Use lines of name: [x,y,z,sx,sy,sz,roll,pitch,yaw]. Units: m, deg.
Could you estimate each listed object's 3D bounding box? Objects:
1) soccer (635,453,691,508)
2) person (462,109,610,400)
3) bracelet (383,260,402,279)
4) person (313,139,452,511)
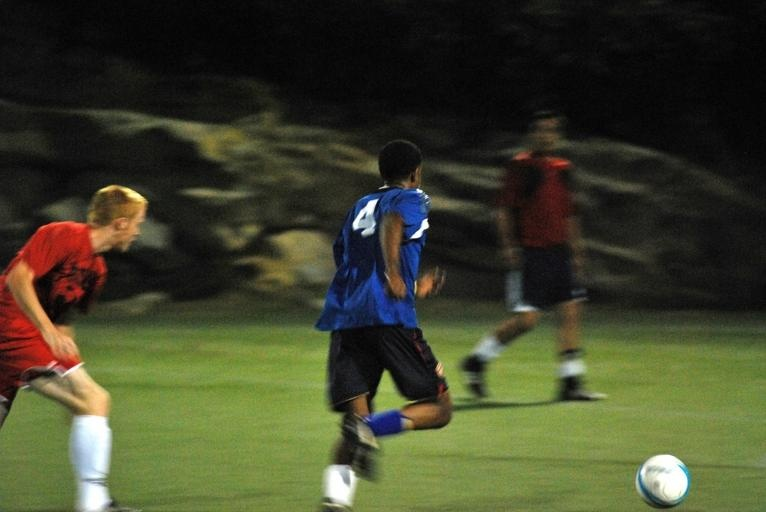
soccer: [2.222,1.792,8.073,0.397,0.302,0.357,-7,28,-42]
person: [1.697,0.022,10.470,1.233,2.950,0.764,1,11,9]
bracelet: [0.048,0.124,7.943,0.148,0.171,0.138,-1,3,-32]
person: [0.016,0.557,7.983,1.049,2.879,1.008,-1,11,-4]
